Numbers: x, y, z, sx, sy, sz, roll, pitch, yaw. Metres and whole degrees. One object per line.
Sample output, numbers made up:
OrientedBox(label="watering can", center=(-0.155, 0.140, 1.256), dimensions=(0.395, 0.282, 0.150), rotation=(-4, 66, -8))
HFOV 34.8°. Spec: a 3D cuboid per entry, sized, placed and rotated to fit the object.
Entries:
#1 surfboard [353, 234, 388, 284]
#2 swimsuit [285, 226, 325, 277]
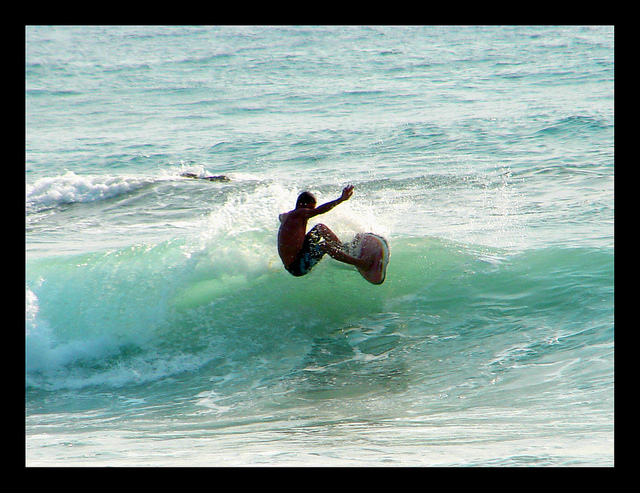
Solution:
OrientedBox(label="surfboard", center=(1.037, 0.216, 19.200), dimensions=(1.040, 0.757, 0.282), rotation=(-5, -4, 41))
OrientedBox(label="swimsuit", center=(-0.199, 0.110, 18.843), dimensions=(0.273, 1.089, 0.637), rotation=(56, -1, -5))
